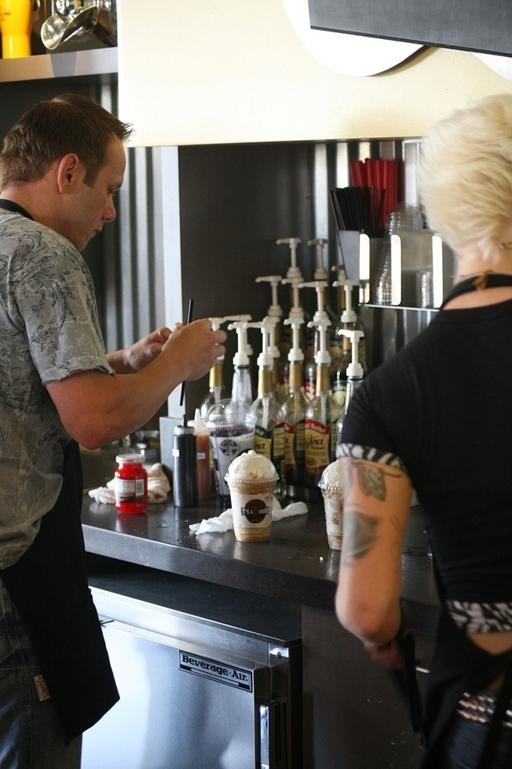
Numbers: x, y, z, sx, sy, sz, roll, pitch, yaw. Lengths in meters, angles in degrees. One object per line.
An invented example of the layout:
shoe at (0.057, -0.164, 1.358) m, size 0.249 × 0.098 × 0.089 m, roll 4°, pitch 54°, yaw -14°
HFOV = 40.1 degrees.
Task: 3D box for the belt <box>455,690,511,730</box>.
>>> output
belt at (0.218, 0.316, 0.690) m, size 0.040 × 0.013 × 0.031 m, roll 3°, pitch 0°, yaw -32°
